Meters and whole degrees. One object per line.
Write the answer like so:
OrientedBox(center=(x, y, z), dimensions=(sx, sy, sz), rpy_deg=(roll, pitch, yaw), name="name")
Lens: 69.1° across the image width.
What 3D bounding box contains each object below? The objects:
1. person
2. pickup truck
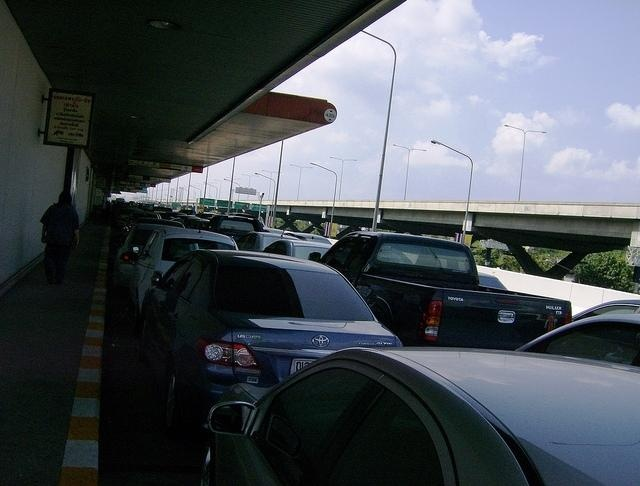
OrientedBox(center=(-6.721, -0.112, 11.962), dimensions=(0.834, 2.365, 0.670), rpy_deg=(5, 5, -28), name="person")
OrientedBox(center=(1.394, 0.701, 7.229), dimensions=(1.873, 1.102, 3.143), rpy_deg=(4, 5, -27), name="pickup truck")
